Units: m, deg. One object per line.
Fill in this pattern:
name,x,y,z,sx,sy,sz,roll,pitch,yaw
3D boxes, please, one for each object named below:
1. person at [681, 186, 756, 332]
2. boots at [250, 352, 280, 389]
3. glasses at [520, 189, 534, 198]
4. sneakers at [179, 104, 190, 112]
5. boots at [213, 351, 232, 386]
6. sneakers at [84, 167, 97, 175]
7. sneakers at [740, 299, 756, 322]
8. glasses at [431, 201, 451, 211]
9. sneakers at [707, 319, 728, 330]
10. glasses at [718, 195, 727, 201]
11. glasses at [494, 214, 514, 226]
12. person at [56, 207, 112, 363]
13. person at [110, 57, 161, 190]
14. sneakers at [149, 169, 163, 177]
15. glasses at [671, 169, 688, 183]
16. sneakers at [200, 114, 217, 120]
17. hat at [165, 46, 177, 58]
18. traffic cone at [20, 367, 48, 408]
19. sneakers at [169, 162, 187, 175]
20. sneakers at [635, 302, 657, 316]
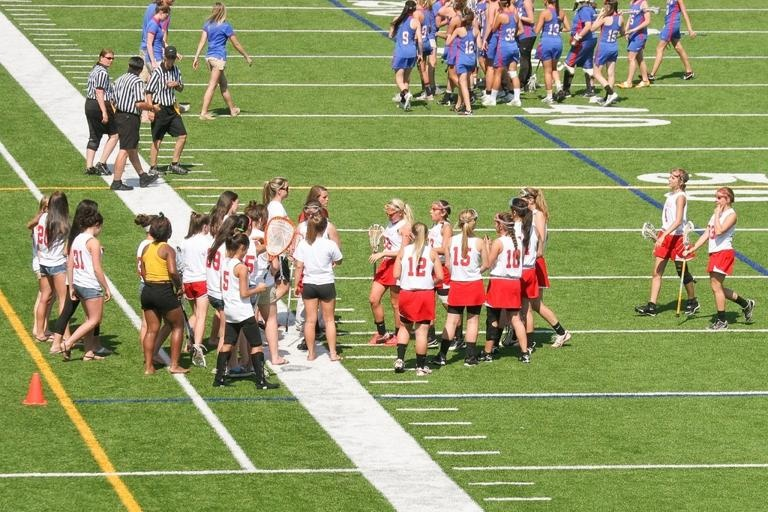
person,5.612,-0.030,24.789,1.106,2.298,1.352,2,13,13
boots,-1.809,1.671,22.510,0.376,0.607,0.356,-5,13,-20
glasses,2.284,-1.007,23.819,0.179,0.095,0.129,18,-5,-40
sneakers,-4.441,-3.319,33.393,0.219,0.132,0.205,-3,10,-24
boots,-2.426,1.664,22.390,0.254,0.577,0.222,-5,14,-20
sneakers,-5.696,-1.667,29.079,0.212,0.184,0.121,4,0,-5
sneakers,6.047,0.891,24.796,0.242,0.419,0.162,-5,21,-5
glasses,0.935,-0.808,23.447,0.166,0.091,0.192,9,-5,32
sneakers,5.419,1.091,24.576,0.433,0.174,0.146,1,13,-2
glasses,5.501,-0.960,24.423,0.096,0.107,0.226,-5,13,-18
glasses,1.886,-0.583,23.227,0.211,0.086,0.222,1,25,-36
person,-4.586,0.385,22.695,0.737,2.447,0.835,-4,13,-15
person,-4.769,-2.466,28.059,0.837,2.549,0.511,-1,13,-1
sneakers,-4.425,-1.632,29.041,0.112,0.122,0.312,-1,4,-28
glasses,4.874,-1.328,24.669,0.256,0.184,0.212,33,-10,11
sneakers,-3.851,-3.077,32.841,0.402,0.146,0.133,-4,24,-7
hat,-4.055,-3.893,28.546,0.208,0.148,0.279,0,5,-11
traffic cone,-5.066,1.911,21.860,0.470,0.535,0.437,5,16,-6
sneakers,-3.970,-1.745,29.580,0.457,0.185,0.175,-1,17,-36
sneakers,4.338,0.849,24.945,0.402,0.264,0.160,11,15,3
